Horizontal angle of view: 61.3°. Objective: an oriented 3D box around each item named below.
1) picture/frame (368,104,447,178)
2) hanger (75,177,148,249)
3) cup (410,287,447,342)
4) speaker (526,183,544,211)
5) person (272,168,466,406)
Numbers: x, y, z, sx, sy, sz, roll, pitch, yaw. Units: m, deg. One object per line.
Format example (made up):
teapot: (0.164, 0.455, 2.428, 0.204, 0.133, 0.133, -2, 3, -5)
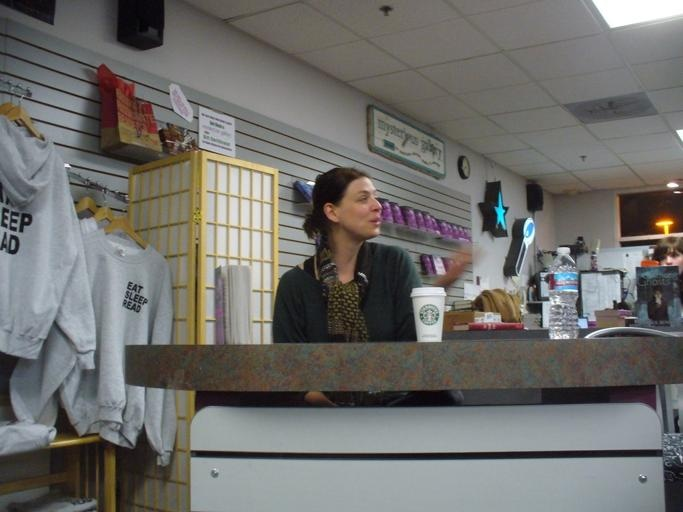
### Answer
picture/frame: (0.751, -1.379, 6.828, 0.129, 0.436, 1.259, -21, -27, 34)
hanger: (-1.514, -0.219, 3.613, 0.484, 0.346, 0.373, 0, 3, 42)
cup: (0.292, 0.204, 1.975, 0.154, 0.217, 0.155, 0, -15, 0)
speaker: (3.469, -1.043, 10.225, 0.241, 0.541, 0.465, 0, 2, 29)
person: (0.027, -0.027, 2.573, 0.698, 0.787, 0.487, 0, 2, 36)
